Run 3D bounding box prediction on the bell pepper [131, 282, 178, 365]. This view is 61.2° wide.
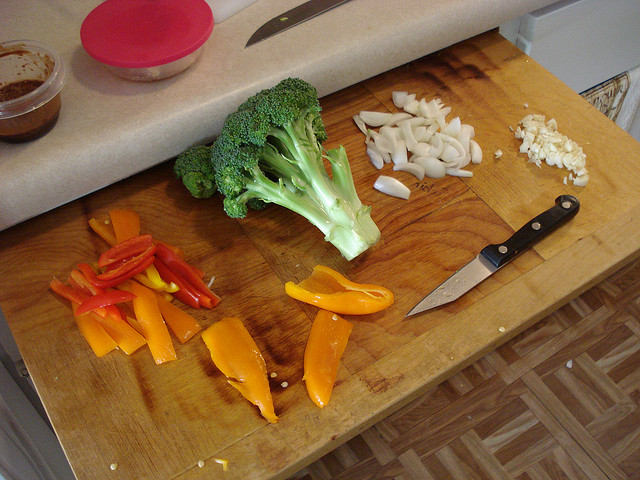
[{"bbox_3d":[-0.334,0.163,1.072,0.046,0.083,0.165,-20,43,-19],"label":"bell pepper"}]

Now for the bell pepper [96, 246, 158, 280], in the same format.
[{"bbox_3d":[-0.386,0.050,1.095,0.128,0.035,0.030,-23,45,-24],"label":"bell pepper"}]

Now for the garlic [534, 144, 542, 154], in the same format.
[{"bbox_3d":[0.502,-0.210,1.247,0.013,0.005,0.020,1,51,21],"label":"garlic"}]

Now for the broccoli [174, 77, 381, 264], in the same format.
[{"bbox_3d":[-0.084,-0.117,1.203,0.351,0.404,0.209,-26,12,41],"label":"broccoli"}]

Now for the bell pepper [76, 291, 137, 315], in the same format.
[{"bbox_3d":[-0.422,0.128,1.071,0.115,0.042,0.032,-15,42,-16],"label":"bell pepper"}]

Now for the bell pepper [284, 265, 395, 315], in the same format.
[{"bbox_3d":[0.040,0.107,1.121,0.211,0.045,0.132,14,31,30],"label":"bell pepper"}]

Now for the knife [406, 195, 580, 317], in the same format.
[{"bbox_3d":[0.364,0.039,1.131,0.419,0.033,0.070,-31,46,-9],"label":"knife"}]
